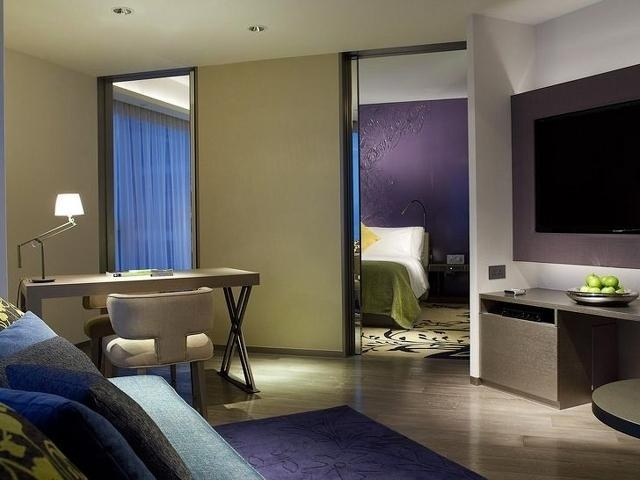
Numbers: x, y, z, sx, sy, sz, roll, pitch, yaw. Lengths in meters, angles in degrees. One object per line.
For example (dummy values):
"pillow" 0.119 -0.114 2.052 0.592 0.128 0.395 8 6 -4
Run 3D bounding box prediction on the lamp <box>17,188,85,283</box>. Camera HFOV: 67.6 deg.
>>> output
"lamp" -2.181 -0.021 3.889 0.483 0.695 0.218 -3 4 -36

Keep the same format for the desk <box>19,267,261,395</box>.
"desk" -1.344 0.771 3.717 1.592 1.026 0.660 -1 3 -31

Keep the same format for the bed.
"bed" 0.819 0.350 5.114 0.893 0.635 0.931 0 2 18
